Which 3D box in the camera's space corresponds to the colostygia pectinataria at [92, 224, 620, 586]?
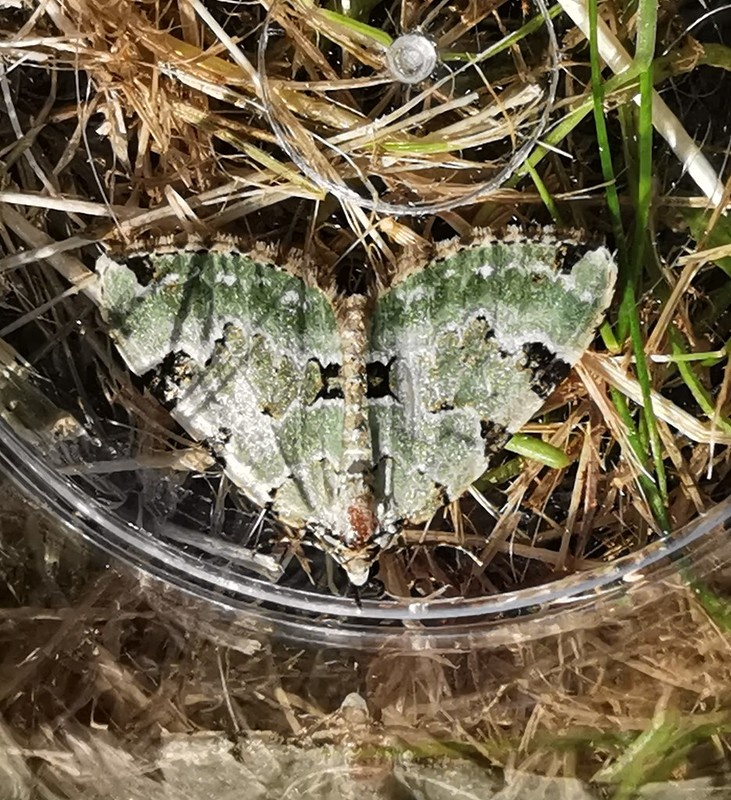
[{"bbox_3d":[-0.012,0.010,0.696,0.425,0.109,0.242,-4,86,-35],"label":"colostygia pectinataria"}]
